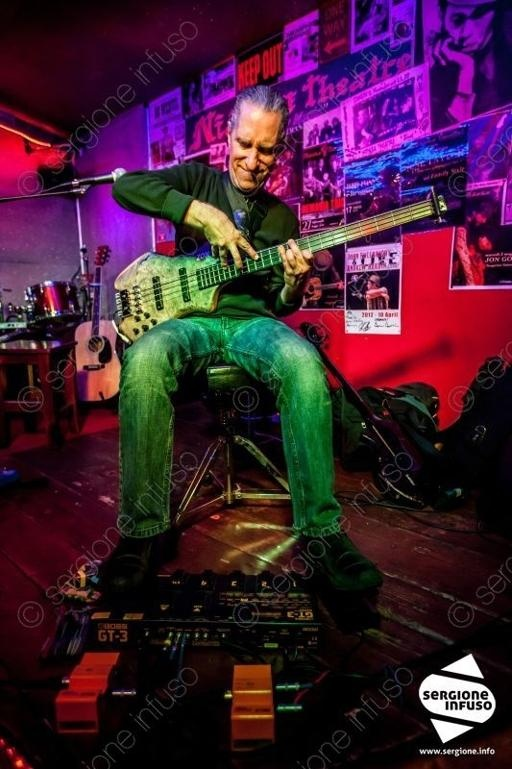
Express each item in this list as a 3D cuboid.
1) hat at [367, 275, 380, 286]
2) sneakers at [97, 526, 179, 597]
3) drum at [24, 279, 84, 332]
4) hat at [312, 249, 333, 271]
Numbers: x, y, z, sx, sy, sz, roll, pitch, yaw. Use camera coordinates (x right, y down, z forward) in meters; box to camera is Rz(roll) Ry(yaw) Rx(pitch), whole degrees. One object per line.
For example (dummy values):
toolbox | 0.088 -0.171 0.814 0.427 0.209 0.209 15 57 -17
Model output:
hat | 0.605 -0.528 2.736 0.049 0.058 0.060 1 14 -20
sneakers | -0.306 0.468 1.417 0.099 0.108 0.252 -4 -7 13
drum | -1.528 -0.574 4.013 0.413 0.282 0.397 -2 6 0
hat | 0.371 -0.686 2.958 0.114 0.109 0.030 -4 5 43
